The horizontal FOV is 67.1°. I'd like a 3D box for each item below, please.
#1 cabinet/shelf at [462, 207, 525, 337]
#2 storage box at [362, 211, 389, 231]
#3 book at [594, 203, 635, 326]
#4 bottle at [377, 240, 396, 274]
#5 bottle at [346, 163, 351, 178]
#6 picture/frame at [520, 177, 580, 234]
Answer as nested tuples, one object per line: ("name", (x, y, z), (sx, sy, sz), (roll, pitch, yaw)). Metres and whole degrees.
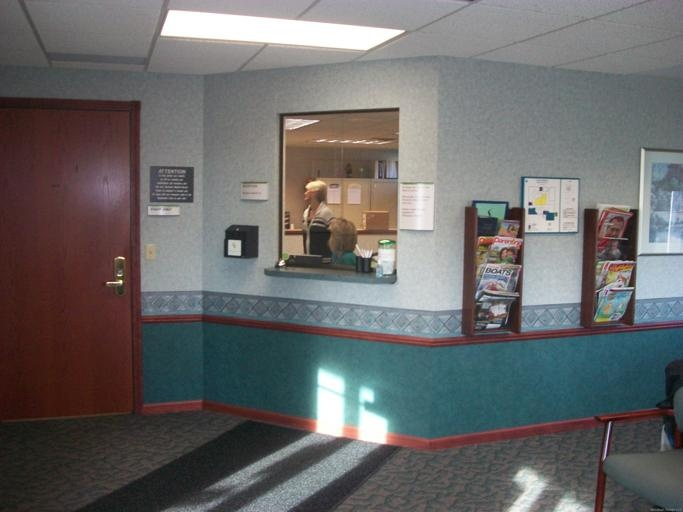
("cabinet/shelf", (1.353, 0.152, 4.636), (0.545, 1.174, 0.221), (-4, 11, -21))
("storage box", (0.333, -0.320, 4.897), (0.307, 0.216, 0.166), (0, -1, 20))
("book", (2.651, 0.099, 4.990), (0.474, 1.151, 0.186), (-3, 11, -19))
("bottle", (0.415, 0.012, 4.699), (0.175, 0.307, 0.185), (0, 10, 0))
("bottle", (0.069, -0.820, 4.940), (0.054, 0.126, 0.015), (2, 10, 10))
("picture/frame", (1.937, -0.488, 4.860), (0.563, 0.460, 0.054), (-3, 9, -16))
